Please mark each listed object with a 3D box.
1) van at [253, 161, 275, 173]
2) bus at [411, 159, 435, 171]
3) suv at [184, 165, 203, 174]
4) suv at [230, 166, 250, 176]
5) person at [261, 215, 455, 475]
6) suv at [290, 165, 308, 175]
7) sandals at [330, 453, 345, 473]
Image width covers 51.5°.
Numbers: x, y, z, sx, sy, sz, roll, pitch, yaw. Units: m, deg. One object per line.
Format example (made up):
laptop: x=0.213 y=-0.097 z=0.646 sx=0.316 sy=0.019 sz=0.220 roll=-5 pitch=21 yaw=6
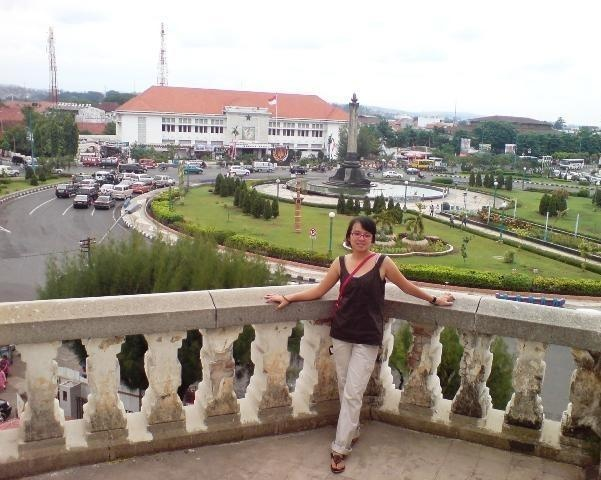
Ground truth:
van: x=-4.745 y=-9.211 z=78.959 sx=2.715 sy=1.530 sz=1.897 roll=-3 pitch=20 yaw=-6
bus: x=19.489 y=-12.332 z=98.793 sx=3.754 sy=1.908 sz=2.062 roll=-8 pitch=20 yaw=-7
suv: x=-12.451 y=-8.207 z=70.103 sx=1.460 sy=1.141 sz=3.926 roll=3 pitch=3 yaw=11
suv: x=-7.221 y=-8.140 z=72.326 sx=2.311 sy=1.259 sz=1.416 roll=-8 pitch=20 yaw=-18
person: x=0.428 y=0.738 z=5.006 sx=1.256 sy=1.885 sz=0.678 roll=1 pitch=3 yaw=-28
suv: x=-0.446 y=-8.882 z=79.760 sx=1.959 sy=1.099 sz=1.408 roll=2 pitch=31 yaw=-1
sandals: x=0.273 y=1.653 z=4.617 sx=0.114 sy=0.113 sz=0.113 roll=3 pitch=2 yaw=4
